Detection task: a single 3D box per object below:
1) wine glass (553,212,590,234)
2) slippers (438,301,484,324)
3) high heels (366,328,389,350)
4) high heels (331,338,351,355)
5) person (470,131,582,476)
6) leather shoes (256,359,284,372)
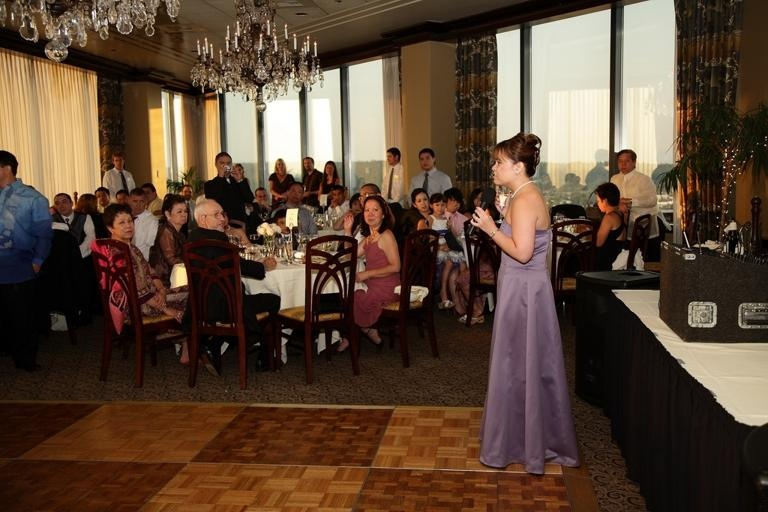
[{"bbox_3d":[2.144,-0.333,6.607,0.340,0.189,0.493,2,9,11],"label":"wine glass"},{"bbox_3d":[0.888,0.652,6.844,0.208,0.155,0.529,-5,4,-34],"label":"slippers"},{"bbox_3d":[-0.068,0.858,5.938,0.180,0.154,0.444,-2,-9,-2],"label":"high heels"},{"bbox_3d":[-0.429,0.921,5.885,0.096,0.128,0.307,-2,-15,13],"label":"high heels"},{"bbox_3d":[0.918,0.316,3.728,0.693,2.122,0.486,4,14,20],"label":"person"},{"bbox_3d":[-1.066,1.006,5.375,0.169,0.186,0.133,-3,-12,8],"label":"leather shoes"}]
